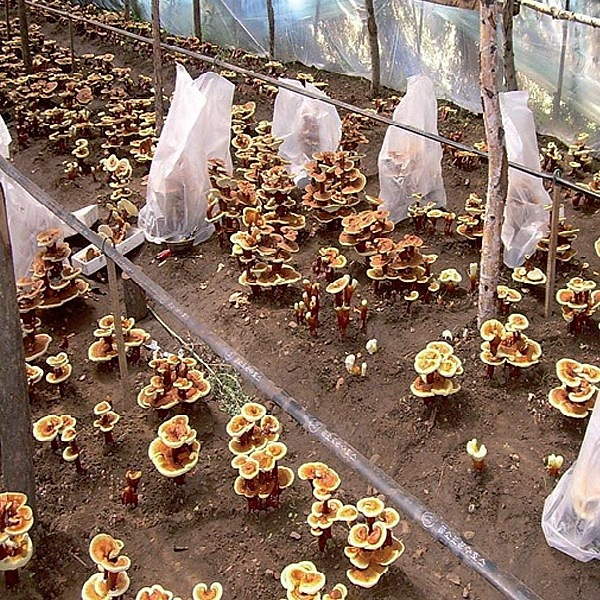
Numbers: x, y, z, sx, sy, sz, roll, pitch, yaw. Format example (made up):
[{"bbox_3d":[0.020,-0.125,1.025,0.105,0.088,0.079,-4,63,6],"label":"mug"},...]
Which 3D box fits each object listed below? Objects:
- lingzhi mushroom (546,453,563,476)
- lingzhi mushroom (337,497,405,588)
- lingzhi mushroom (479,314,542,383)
[{"bbox_3d":[2.009,1.304,4.390,0.145,0.152,0.125,-5,30,0],"label":"lingzhi mushroom"},{"bbox_3d":[0.479,1.639,3.755,0.429,0.226,0.622,21,40,9],"label":"lingzhi mushroom"},{"bbox_3d":[1.900,0.458,5.097,0.604,0.359,0.618,20,48,30],"label":"lingzhi mushroom"}]
